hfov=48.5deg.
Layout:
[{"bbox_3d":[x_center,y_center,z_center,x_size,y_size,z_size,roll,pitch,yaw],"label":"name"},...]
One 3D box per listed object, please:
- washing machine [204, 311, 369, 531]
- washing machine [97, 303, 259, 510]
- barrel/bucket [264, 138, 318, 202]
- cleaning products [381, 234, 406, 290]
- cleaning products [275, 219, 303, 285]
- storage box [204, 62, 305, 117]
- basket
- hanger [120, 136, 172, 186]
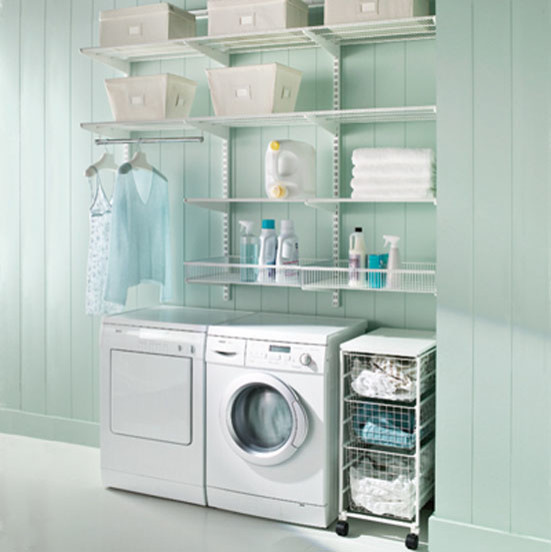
[{"bbox_3d":[-0.113,0.591,2.929,0.705,1.059,0.729,1,2,26],"label":"washing machine"},{"bbox_3d":[-0.559,0.558,3.128,0.727,1.125,0.729,2,1,29],"label":"washing machine"},{"bbox_3d":[0.068,-0.469,2.695,0.259,0.309,0.206,0,1,-9],"label":"barrel/bucket"},{"bbox_3d":[0.500,-0.070,2.609,0.071,0.212,0.374,1,5,10],"label":"cleaning products"},{"bbox_3d":[0.051,-0.111,2.730,0.109,0.276,0.261,0,5,1],"label":"cleaning products"},{"bbox_3d":[-0.114,-0.806,2.789,0.348,0.182,0.252,3,7,20],"label":"storage box"},{"bbox_3d":[0.460,0.644,2.517,0.374,0.782,0.407,1,5,16],"label":"basket"},{"bbox_3d":[-0.659,-0.590,3.147,0.023,0.198,0.309,2,4,28],"label":"hanger"}]
